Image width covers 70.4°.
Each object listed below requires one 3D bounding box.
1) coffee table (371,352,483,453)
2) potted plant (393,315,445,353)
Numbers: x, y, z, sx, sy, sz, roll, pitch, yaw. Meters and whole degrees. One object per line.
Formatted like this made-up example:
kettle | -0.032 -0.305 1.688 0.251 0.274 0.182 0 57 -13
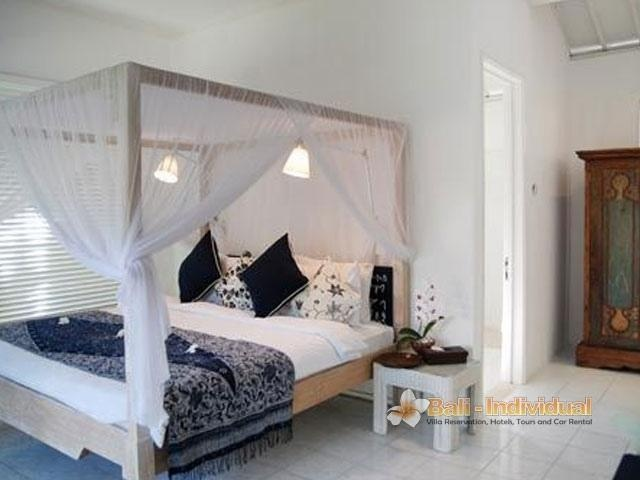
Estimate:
coffee table | 0.798 1.139 3.438 0.606 0.561 0.654 0 -2 38
potted plant | 0.795 0.726 3.739 0.361 0.191 0.313 -4 -7 22
